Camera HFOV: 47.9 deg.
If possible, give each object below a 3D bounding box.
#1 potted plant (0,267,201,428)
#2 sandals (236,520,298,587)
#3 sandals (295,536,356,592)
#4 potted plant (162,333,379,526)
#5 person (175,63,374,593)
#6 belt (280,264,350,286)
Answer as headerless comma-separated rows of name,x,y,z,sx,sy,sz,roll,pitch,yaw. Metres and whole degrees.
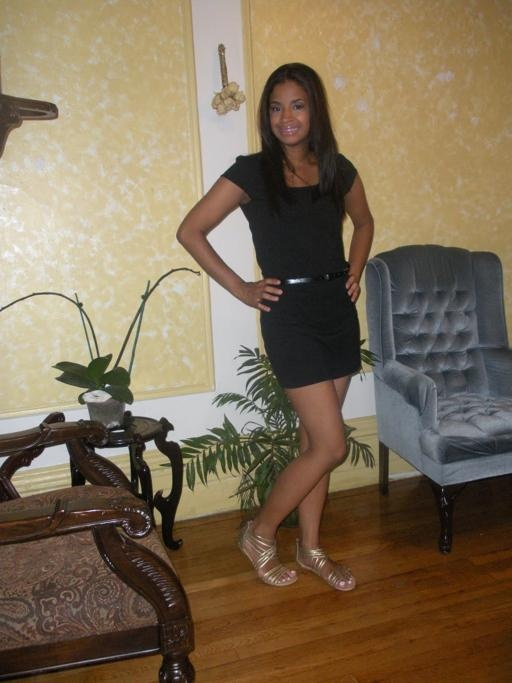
potted plant,-0.628,0.005,2.205,0.692,0.495,0.305,-5,17,-19
sandals,0.014,0.706,2.013,0.121,0.117,0.283,-19,47,-29
sandals,0.233,0.753,1.981,0.091,0.080,0.228,-25,28,-39
potted plant,-0.027,0.356,2.523,1.007,0.736,0.771,-3,10,-19
person,0.116,-0.012,1.917,0.683,1.669,0.410,-5,10,-7
belt,0.197,-0.205,1.805,0.239,0.052,0.074,-8,10,-33
